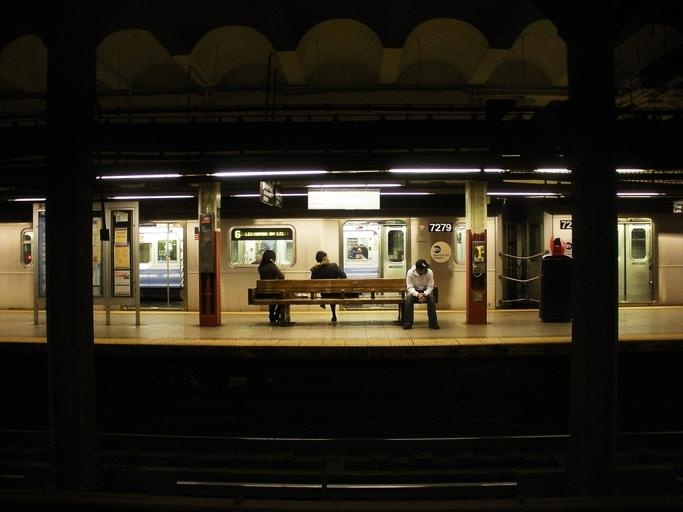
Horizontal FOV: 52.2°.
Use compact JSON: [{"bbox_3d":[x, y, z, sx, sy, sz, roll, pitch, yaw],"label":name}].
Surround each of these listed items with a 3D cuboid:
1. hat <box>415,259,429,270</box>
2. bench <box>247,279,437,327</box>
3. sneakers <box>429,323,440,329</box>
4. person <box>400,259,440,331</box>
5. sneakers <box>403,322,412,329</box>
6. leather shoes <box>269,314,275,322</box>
[{"bbox_3d":[1.732,0.196,15.008,0.242,0.158,0.193,-5,19,5],"label":"hat"},{"bbox_3d":[0.023,1.014,14.858,3.810,1.123,0.708,-1,-6,-6],"label":"bench"},{"bbox_3d":[1.956,1.465,14.663,0.239,0.175,0.091,-3,-1,13],"label":"sneakers"},{"bbox_3d":[1.711,0.799,14.907,0.746,1.424,0.686,1,-1,6],"label":"person"},{"bbox_3d":[1.388,1.465,14.637,0.160,0.112,0.104,3,-1,8],"label":"sneakers"},{"bbox_3d":[-1.514,1.389,15.347,0.120,0.129,0.227,2,-5,-9],"label":"leather shoes"}]
